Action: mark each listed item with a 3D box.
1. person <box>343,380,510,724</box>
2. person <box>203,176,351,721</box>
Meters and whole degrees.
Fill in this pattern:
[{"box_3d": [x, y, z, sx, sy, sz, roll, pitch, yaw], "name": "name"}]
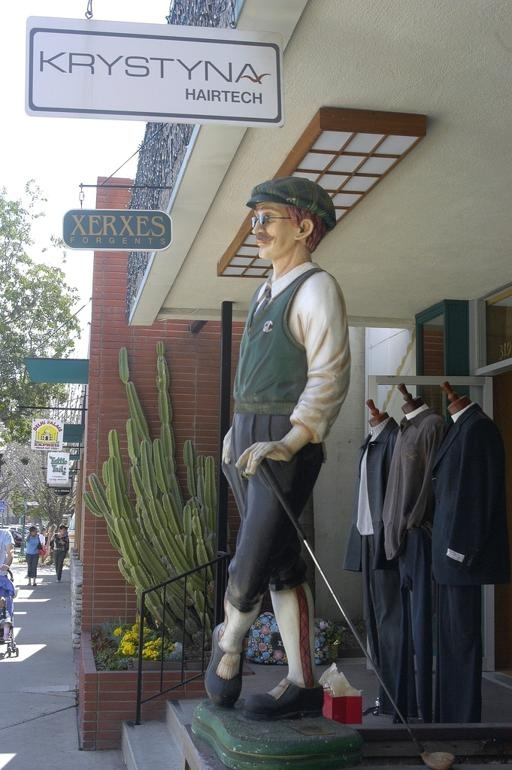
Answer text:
[{"box_3d": [0.865, 0.842, 3.394, 0.417, 1.707, 1.435, 2, -3, -7], "name": "person"}, {"box_3d": [0.055, 0.134, 1.751, 0.318, 1.316, 0.437, 2, -3, -4], "name": "person"}]
